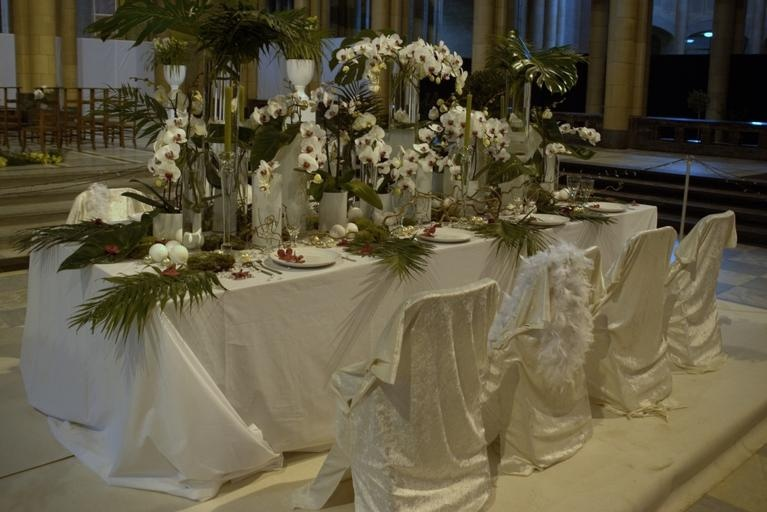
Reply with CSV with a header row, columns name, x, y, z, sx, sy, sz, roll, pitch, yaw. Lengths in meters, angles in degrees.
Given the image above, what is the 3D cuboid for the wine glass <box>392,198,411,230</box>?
name,x,y,z,sx,sy,sz,roll,pitch,yaw
wine glass,0.113,-0.303,3.759,0.122,0.200,0.195,2,5,21

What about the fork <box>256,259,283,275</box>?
name,x,y,z,sx,sy,sz,roll,pitch,yaw
fork,-0.631,0.064,2.959,0.065,0.015,0.242,-19,20,-31

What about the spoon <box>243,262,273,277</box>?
name,x,y,z,sx,sy,sz,roll,pitch,yaw
spoon,-0.691,0.070,2.930,0.066,0.016,0.245,-9,24,-39

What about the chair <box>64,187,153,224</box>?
name,x,y,z,sx,sy,sz,roll,pitch,yaw
chair,-1.930,-0.348,3.775,0.565,0.266,0.403,-6,16,-34
